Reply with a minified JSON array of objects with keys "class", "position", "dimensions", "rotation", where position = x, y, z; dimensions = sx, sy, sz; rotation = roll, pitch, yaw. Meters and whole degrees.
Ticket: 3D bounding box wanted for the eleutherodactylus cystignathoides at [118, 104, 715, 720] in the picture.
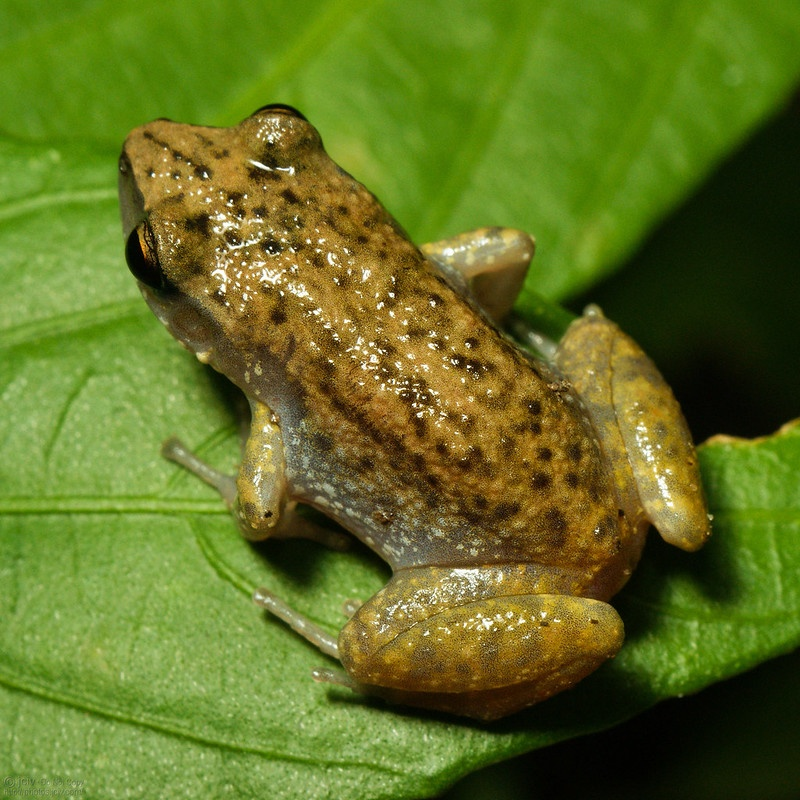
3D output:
[{"class":"eleutherodactylus cystignathoides","position":[0.024,0.003,2.335],"dimensions":[0.942,0.600,1.414],"rotation":[-30,73,-27]}]
